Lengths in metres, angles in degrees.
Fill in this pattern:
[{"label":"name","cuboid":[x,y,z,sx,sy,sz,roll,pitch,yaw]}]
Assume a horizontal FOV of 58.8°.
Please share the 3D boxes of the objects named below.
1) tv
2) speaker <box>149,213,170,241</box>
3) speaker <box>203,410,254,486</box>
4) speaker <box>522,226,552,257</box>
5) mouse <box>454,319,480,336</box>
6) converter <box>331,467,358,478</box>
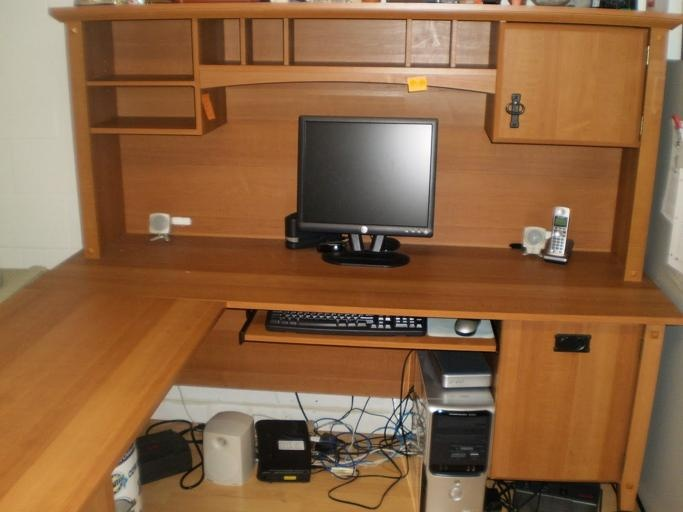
[{"label":"tv","cuboid":[0.105,-0.287,2.489,0.618,0.545,0.319,2,18,6]},{"label":"speaker","cuboid":[-0.813,-0.134,2.719,0.111,0.139,0.088,4,16,-3]},{"label":"speaker","cuboid":[-0.484,0.851,2.739,0.271,0.312,0.267,1,6,3]},{"label":"speaker","cuboid":[0.812,-0.067,2.563,0.124,0.114,0.036,13,6,22]},{"label":"mouse","cuboid":[0.458,0.258,2.209,0.051,0.022,0.084,2,25,19]},{"label":"converter","cuboid":[0.015,0.961,2.701,0.088,0.019,0.043,0,18,1]}]
